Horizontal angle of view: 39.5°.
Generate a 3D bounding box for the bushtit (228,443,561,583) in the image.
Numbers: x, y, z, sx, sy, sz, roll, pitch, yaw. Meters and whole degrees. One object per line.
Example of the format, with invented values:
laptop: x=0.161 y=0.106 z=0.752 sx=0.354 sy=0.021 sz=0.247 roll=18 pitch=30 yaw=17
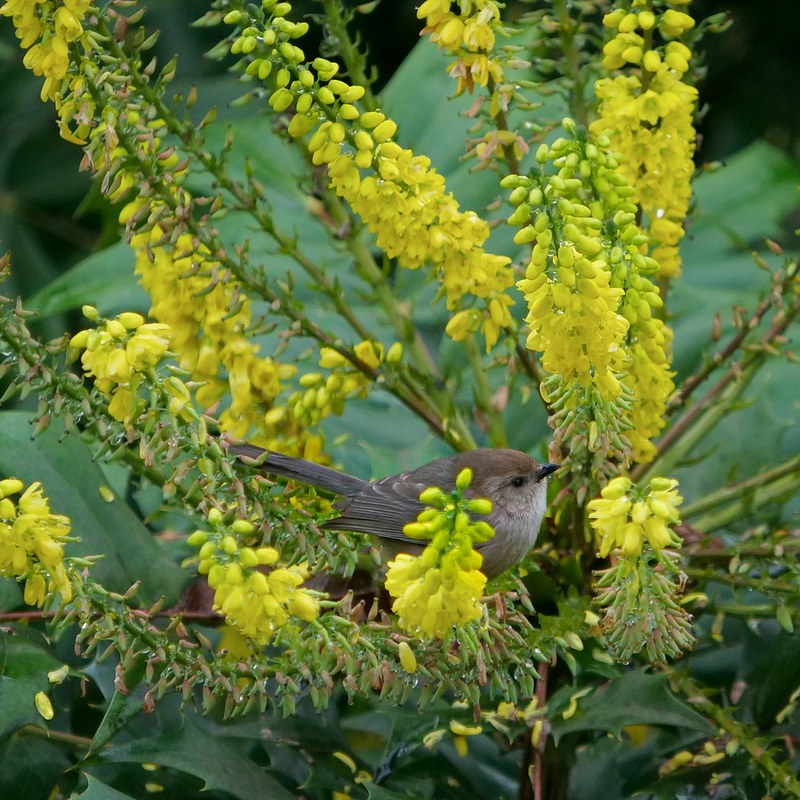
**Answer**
bushtit: x=-0.025 y=0.218 z=2.175 sx=0.811 sy=0.276 sz=0.233 roll=1 pitch=23 yaw=31
